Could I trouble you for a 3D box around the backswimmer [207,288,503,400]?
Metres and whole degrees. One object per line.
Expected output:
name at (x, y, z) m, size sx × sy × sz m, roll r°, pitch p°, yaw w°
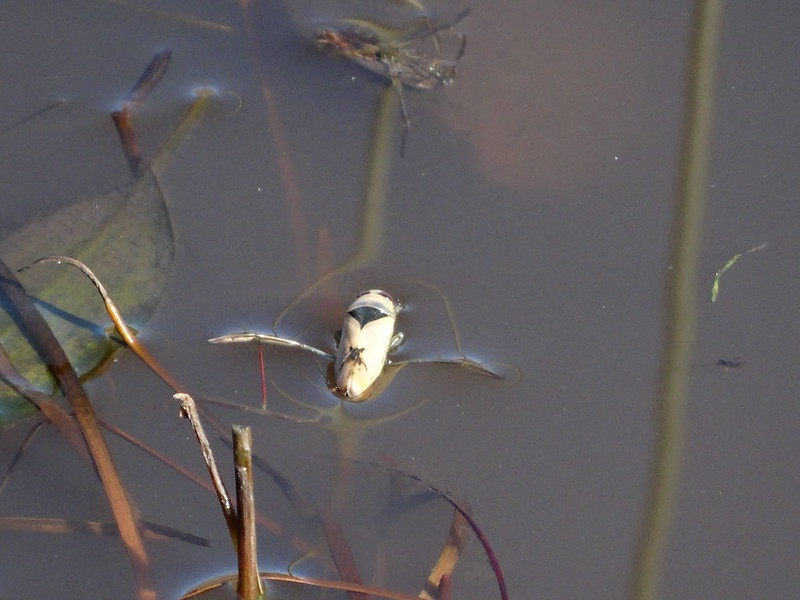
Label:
backswimmer at (-0.188, 0.196, 5.217) m, size 1.343 × 0.535 × 0.224 m, roll 7°, pitch -32°, yaw 6°
